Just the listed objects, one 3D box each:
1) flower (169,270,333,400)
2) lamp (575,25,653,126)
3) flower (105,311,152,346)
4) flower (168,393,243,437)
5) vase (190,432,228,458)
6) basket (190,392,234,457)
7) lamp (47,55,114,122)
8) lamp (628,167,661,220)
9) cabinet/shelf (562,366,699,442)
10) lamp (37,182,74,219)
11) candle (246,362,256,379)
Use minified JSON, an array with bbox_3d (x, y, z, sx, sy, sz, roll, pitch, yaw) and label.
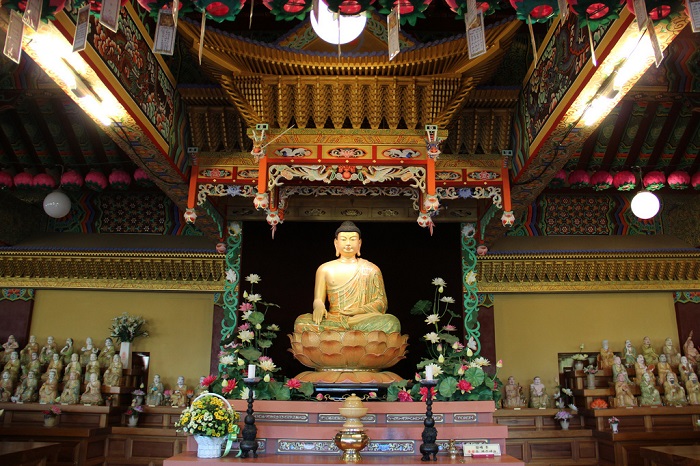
[{"bbox_3d":[-0.900,0.991,5.473,0.892,0.829,0.660,-2,-8,-19],"label":"flower"},{"bbox_3d":[2.045,-1.229,4.871,0.223,0.433,1.024,18,-27,2],"label":"lamp"},{"bbox_3d":[-2.839,1.205,7.622,0.438,0.356,0.430,3,0,16],"label":"flower"},{"bbox_3d":[-1.063,1.419,4.492,0.384,0.234,0.377,3,-13,0],"label":"flower"},{"bbox_3d":[-1.080,1.649,4.527,0.210,0.129,0.217,13,-23,-21],"label":"vase"},{"bbox_3d":[-1.003,1.504,4.671,0.472,0.464,0.448,2,-10,-9],"label":"basket"},{"bbox_3d":[-2.247,-1.235,4.937,0.670,0.179,0.216,31,-58,12],"label":"lamp"},{"bbox_3d":[3.668,-0.474,7.353,0.289,0.776,0.820,-9,-21,27],"label":"lamp"},{"bbox_3d":[3.333,2.022,7.029,1.433,0.768,0.634,-5,-20,17],"label":"cabinet/shelf"},{"bbox_3d":[-3.651,-0.410,7.490,0.406,0.445,0.390,4,-7,-6],"label":"lamp"},{"bbox_3d":[-0.772,1.111,4.695,0.056,0.114,0.074,7,-20,-17],"label":"candle"}]
